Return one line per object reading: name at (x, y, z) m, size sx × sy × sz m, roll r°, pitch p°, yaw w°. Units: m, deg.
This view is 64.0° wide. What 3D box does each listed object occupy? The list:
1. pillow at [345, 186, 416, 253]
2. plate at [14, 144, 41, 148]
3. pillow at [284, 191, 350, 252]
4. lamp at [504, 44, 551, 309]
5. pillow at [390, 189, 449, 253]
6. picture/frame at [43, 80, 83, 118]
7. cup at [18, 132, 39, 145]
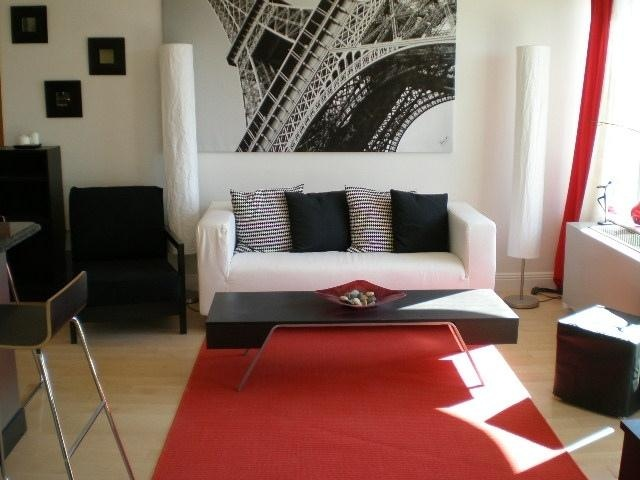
pillow at (0.504, -0.153, 4.310) m, size 0.482 × 0.513 × 0.180 m, roll 2°, pitch -3°, yaw -3°
plate at (-2.463, -0.791, 4.302) m, size 0.200 × 0.036 × 0.091 m, roll -4°, pitch 15°, yaw -16°
pillow at (-0.027, -0.167, 4.402) m, size 0.605 × 0.544 × 0.246 m, roll -1°, pitch 5°, yaw 2°
lamp at (1.792, -0.745, 4.415) m, size 0.322 × 1.777 × 0.300 m, roll 4°, pitch 14°, yaw 14°
pillow at (0.817, -0.142, 4.282) m, size 0.460 × 0.531 × 0.186 m, roll 0°, pitch -6°, yaw -4°
picture/frame at (-2.292, -1.285, 4.581) m, size 0.285 × 0.315 × 0.021 m, roll 1°, pitch 9°, yaw -3°
cup at (-2.456, -0.866, 4.367) m, size 0.155 × 0.102 × 0.201 m, roll -3°, pitch 15°, yaw -12°
